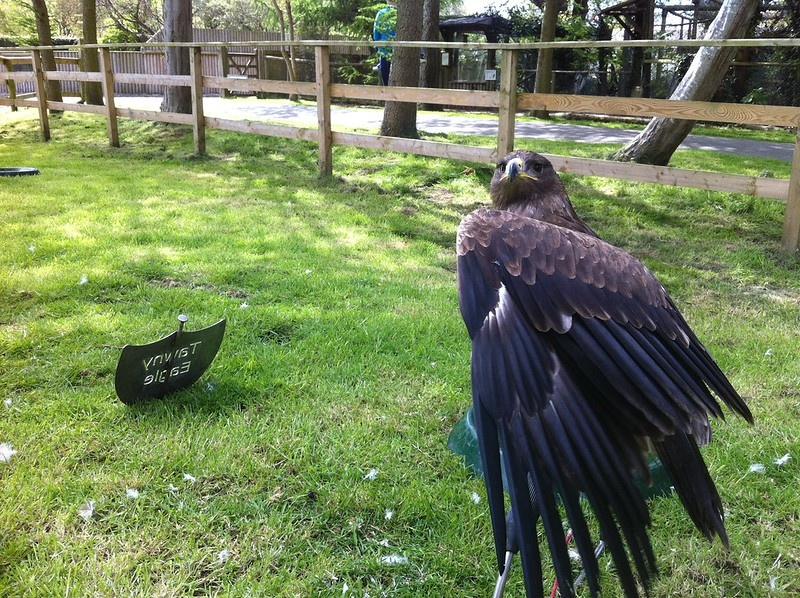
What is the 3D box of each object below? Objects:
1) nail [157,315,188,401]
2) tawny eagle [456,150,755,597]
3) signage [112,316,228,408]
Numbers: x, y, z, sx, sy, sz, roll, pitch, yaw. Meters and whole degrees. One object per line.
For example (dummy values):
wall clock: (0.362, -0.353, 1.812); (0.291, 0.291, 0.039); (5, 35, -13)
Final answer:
nail: (-1.384, 0.382, 4.468); (0.111, 0.684, 0.116); (14, 28, -19)
tawny eagle: (0.789, 0.564, 3.310); (1.124, 1.741, 1.580); (3, 22, 3)
signage: (-1.373, 0.373, 4.400); (0.668, 0.490, 0.160); (-15, 26, -36)
